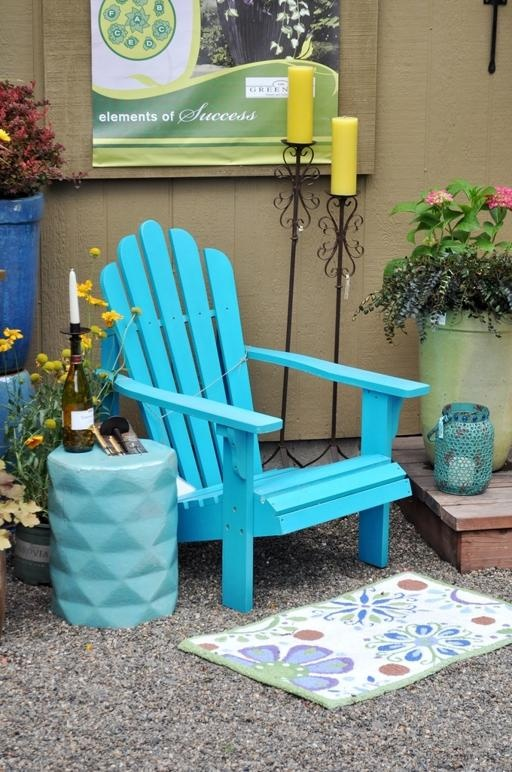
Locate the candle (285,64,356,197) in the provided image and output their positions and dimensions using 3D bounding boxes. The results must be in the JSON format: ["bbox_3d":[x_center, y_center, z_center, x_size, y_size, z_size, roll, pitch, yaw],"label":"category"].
[{"bbox_3d":[0.207,-0.811,2.384,0.219,0.417,0.204,1,7,3],"label":"candle"}]

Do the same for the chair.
[{"bbox_3d":[0.100,0.090,2.313,0.940,1.094,1.018,-15,22,-41],"label":"chair"}]

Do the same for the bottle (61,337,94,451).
[{"bbox_3d":[-0.397,0.015,1.699,0.075,0.247,0.074,3,17,-1],"label":"bottle"}]

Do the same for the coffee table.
[{"bbox_3d":[-0.312,0.299,1.804,0.315,0.382,0.362,-10,20,-36],"label":"coffee table"}]

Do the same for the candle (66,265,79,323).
[{"bbox_3d":[-0.394,-0.192,1.643,0.016,0.116,0.054,-2,8,-17],"label":"candle"}]
